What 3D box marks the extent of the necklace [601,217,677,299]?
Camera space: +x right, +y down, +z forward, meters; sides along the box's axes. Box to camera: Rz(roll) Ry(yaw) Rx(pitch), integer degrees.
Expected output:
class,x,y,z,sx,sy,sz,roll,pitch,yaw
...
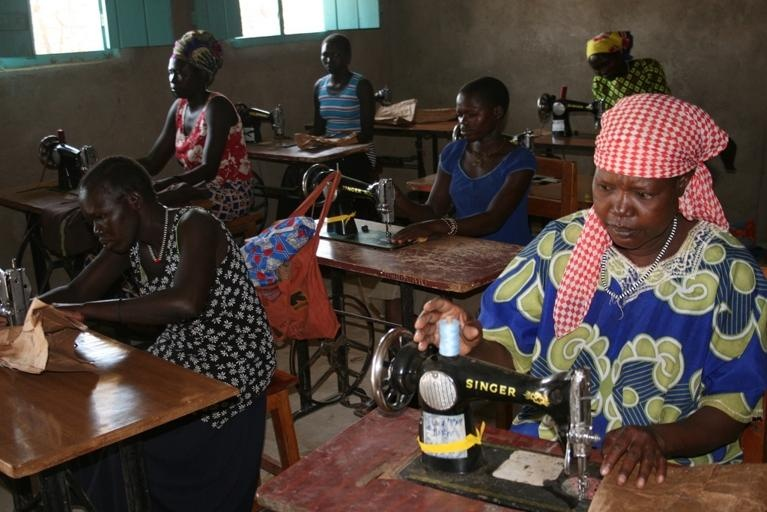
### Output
class,x,y,z,sx,sy,sz,roll,pitch,yaw
necklace,0.865,0.031,2.369,0.194,0.301,0.051,31,5,38

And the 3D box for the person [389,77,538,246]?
class,x,y,z,sx,sy,sz,roll,pitch,yaw
person,0.515,-0.540,4.451,0.830,1.113,0.797,-14,19,-39

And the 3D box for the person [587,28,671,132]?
class,x,y,z,sx,sy,sz,roll,pitch,yaw
person,2.226,-1.672,6.564,0.529,0.838,0.666,-26,7,-41

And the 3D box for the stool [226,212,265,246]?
class,x,y,z,sx,sy,sz,roll,pitch,yaw
stool,-1.108,-0.238,5.727,0.248,0.242,0.245,-13,20,29

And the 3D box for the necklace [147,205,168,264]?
class,x,y,z,sx,sy,sz,roll,pitch,yaw
necklace,-1.001,-0.092,3.127,0.166,0.218,0.055,9,17,34

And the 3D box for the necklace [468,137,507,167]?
class,x,y,z,sx,sy,sz,roll,pitch,yaw
necklace,0.646,-0.649,4.410,0.217,0.197,0.089,18,44,20
